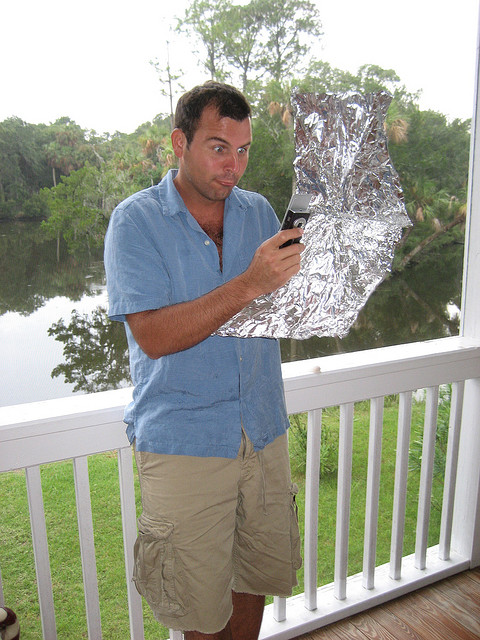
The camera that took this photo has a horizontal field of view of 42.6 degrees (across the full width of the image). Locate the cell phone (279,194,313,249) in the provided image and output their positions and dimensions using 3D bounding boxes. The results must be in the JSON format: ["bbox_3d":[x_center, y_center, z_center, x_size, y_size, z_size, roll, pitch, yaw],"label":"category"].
[{"bbox_3d":[0.110,-0.195,1.200,0.066,0.085,0.137,11,19,21],"label":"cell phone"}]
